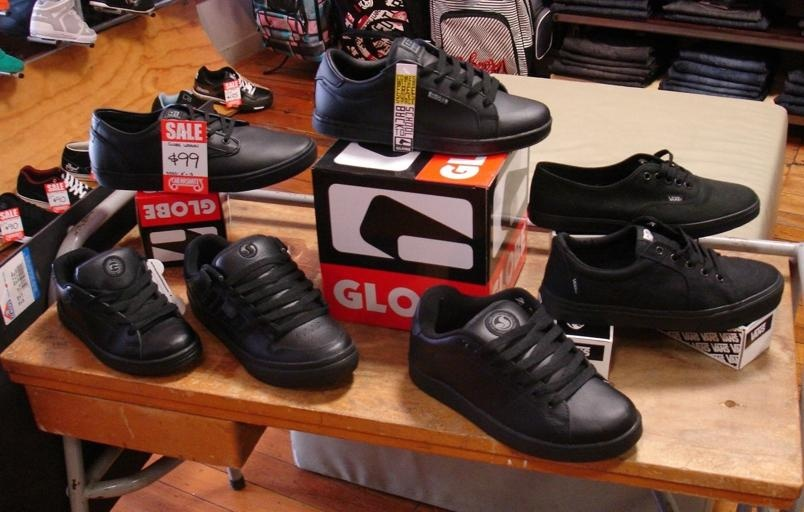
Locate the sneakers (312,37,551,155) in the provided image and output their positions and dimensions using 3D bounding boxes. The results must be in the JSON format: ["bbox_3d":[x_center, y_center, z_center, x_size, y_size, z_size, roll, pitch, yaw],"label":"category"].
[{"bbox_3d":[0.060,-0.336,1.301,0.549,0.179,0.177,11,36,20],"label":"sneakers"}]

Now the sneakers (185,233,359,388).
[{"bbox_3d":[-0.292,0.057,1.251,0.478,0.207,0.187,30,50,29],"label":"sneakers"}]

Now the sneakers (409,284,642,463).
[{"bbox_3d":[0.171,0.192,1.164,0.521,0.210,0.210,22,56,24],"label":"sneakers"}]

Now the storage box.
[{"bbox_3d":[0.032,-0.054,1.433,0.445,0.409,0.414,11,34,19],"label":"storage box"}]

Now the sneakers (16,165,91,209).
[{"bbox_3d":[-0.956,-0.185,1.637,0.209,0.076,0.070,13,45,-8],"label":"sneakers"}]

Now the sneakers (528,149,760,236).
[{"bbox_3d":[0.508,-0.132,1.405,0.590,0.177,0.192,2,39,9],"label":"sneakers"}]

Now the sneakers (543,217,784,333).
[{"bbox_3d":[0.523,0.036,1.212,0.476,0.225,0.240,1,-6,10],"label":"sneakers"}]

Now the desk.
[{"bbox_3d":[0.206,0.265,1.269,1.189,0.536,0.453,7,52,6],"label":"desk"}]

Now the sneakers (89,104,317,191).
[{"bbox_3d":[-0.435,-0.240,1.429,0.597,0.193,0.195,0,32,-5],"label":"sneakers"}]
